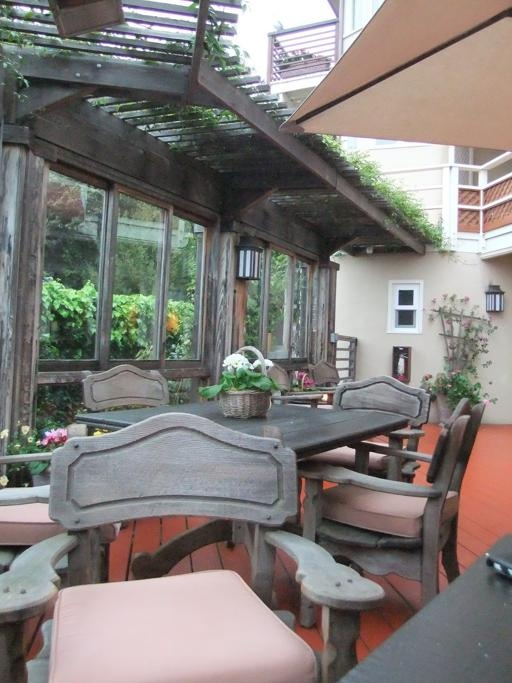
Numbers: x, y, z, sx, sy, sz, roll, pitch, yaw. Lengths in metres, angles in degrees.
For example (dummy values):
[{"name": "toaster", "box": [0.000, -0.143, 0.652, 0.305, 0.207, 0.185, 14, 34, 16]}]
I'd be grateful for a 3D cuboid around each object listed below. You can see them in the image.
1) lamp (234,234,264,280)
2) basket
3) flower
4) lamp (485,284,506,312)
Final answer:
[{"name": "lamp", "box": [-0.071, -0.776, 5.017, 0.214, 0.395, 0.214, 3, 2, 8]}, {"name": "basket", "box": [-0.069, 0.177, 2.473, 0.270, 0.307, 0.253, -7, -4, 27]}, {"name": "flower", "box": [-0.068, 0.134, 2.420, 0.350, 0.187, 0.317, 2, -1, 40]}, {"name": "lamp", "box": [4.042, -0.714, 9.136, 0.344, 0.523, 0.284, 3, 2, 10]}]
